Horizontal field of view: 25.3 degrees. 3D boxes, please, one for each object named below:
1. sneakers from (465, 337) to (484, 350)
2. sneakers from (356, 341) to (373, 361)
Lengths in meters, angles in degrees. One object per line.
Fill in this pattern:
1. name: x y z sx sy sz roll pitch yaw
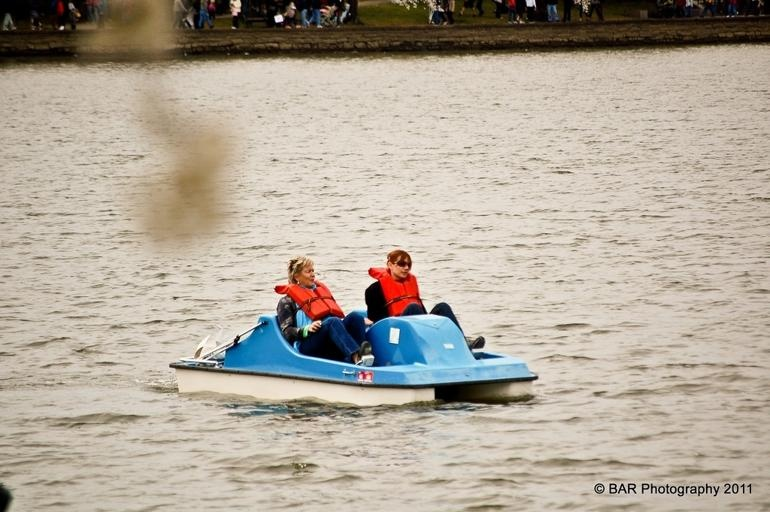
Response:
1. sneakers: 1.243 1.226 24.160 0.173 0.097 0.252 -1 3 -17
2. sneakers: -0.275 1.312 23.644 0.132 0.310 0.130 27 9 -3
